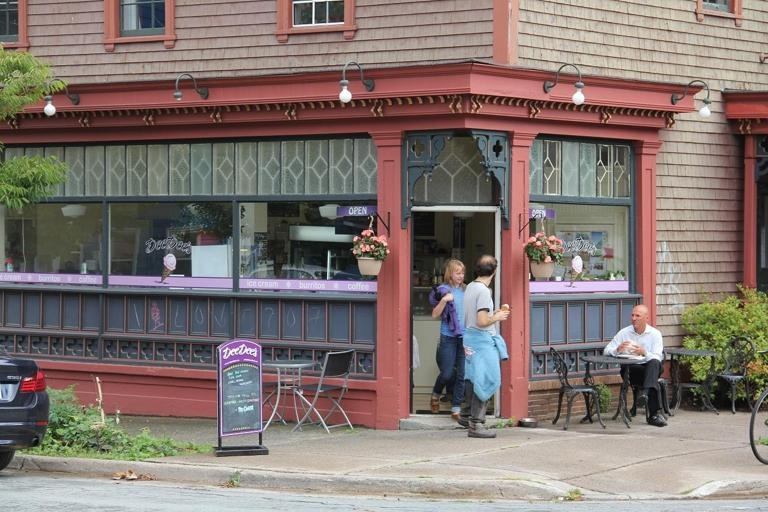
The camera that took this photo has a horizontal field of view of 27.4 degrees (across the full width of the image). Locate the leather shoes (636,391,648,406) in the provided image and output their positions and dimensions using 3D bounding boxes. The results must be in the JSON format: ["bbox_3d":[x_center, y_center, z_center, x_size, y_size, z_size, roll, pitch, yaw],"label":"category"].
[{"bbox_3d":[4.417,2.486,27.053,0.127,0.239,0.344,4,-31,8],"label":"leather shoes"}]

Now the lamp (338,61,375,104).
[{"bbox_3d":[-0.506,-2.929,27.137,0.772,0.685,0.300,-10,13,-42],"label":"lamp"}]

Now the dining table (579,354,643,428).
[{"bbox_3d":[3.858,2.330,27.335,1.161,1.105,1.163,1,-3,-38],"label":"dining table"}]

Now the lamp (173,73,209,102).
[{"bbox_3d":[-3.420,-2.943,28.100,0.607,0.474,0.427,1,-4,-11],"label":"lamp"}]

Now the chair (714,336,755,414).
[{"bbox_3d":[6.298,2.154,28.254,0.706,1.367,0.754,-1,-4,11],"label":"chair"}]

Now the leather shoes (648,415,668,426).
[{"bbox_3d":[4.662,2.838,26.980,0.153,0.142,0.326,3,-6,-45],"label":"leather shoes"}]

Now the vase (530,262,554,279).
[{"bbox_3d":[2.725,0.285,27.300,0.322,0.220,0.314,-1,-3,18],"label":"vase"}]

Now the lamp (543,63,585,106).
[{"bbox_3d":[3.210,-2.948,27.381,0.592,0.779,0.905,-2,-4,31],"label":"lamp"}]

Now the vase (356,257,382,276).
[{"bbox_3d":[-0.249,0.223,27.096,0.343,0.215,0.333,2,-4,-32],"label":"vase"}]

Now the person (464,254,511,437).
[{"bbox_3d":[1.696,1.540,26.305,0.706,2.976,1.132,0,-4,3],"label":"person"}]

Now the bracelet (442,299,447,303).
[{"bbox_3d":[1.060,0.814,27.076,0.077,0.063,0.026,2,-4,-24],"label":"bracelet"}]

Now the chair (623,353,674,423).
[{"bbox_3d":[4.500,2.384,27.315,0.688,1.128,0.911,0,-4,8],"label":"chair"}]

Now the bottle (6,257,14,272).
[{"bbox_3d":[-7.080,0.207,29.915,0.179,0.273,0.065,-1,-4,23],"label":"bottle"}]

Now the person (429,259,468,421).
[{"bbox_3d":[1.097,1.469,27.249,0.582,2.729,0.853,0,-4,3],"label":"person"}]

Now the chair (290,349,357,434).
[{"bbox_3d":[-1.001,2.338,27.166,1.018,1.386,1.361,0,-4,-3],"label":"chair"}]

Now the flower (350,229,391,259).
[{"bbox_3d":[-0.224,-0.177,27.157,0.542,0.357,0.522,2,3,3],"label":"flower"}]

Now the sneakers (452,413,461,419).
[{"bbox_3d":[1.232,2.770,26.996,0.142,0.105,0.196,0,-4,-2],"label":"sneakers"}]

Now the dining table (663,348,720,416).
[{"bbox_3d":[5.603,2.322,28.709,1.104,1.082,1.079,1,-1,3],"label":"dining table"}]

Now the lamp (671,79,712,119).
[{"bbox_3d":[5.541,-2.770,28.417,0.712,0.618,0.237,14,28,26],"label":"lamp"}]

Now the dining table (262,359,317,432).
[{"bbox_3d":[-1.651,2.430,27.542,0.927,0.970,0.931,-4,-6,20],"label":"dining table"}]

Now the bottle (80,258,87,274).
[{"bbox_3d":[-5.573,0.252,29.360,0.135,0.224,0.022,-2,-4,23],"label":"bottle"}]
